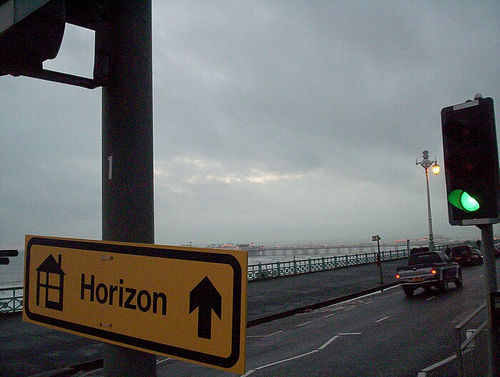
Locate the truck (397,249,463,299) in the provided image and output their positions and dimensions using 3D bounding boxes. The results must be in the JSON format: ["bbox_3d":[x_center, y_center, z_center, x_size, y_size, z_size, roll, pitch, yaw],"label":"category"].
[{"bbox_3d":[9.253,4.233,23.202,1.935,1.777,3.836,-5,-3,37],"label":"truck"}]

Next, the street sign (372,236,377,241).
[{"bbox_3d":[8.201,3.339,29.788,0.378,0.426,0.395,-1,-2,-8],"label":"street sign"}]

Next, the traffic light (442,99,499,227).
[{"bbox_3d":[2.409,-0.301,4.891,0.525,1.397,0.367,-5,-6,26],"label":"traffic light"}]

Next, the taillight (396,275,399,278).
[{"bbox_3d":[7.333,4.455,22.341,0.124,0.137,0.131,0,3,-22],"label":"taillight"}]

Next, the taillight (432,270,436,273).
[{"bbox_3d":[8.960,4.105,21.917,0.187,0.151,0.040,-2,-5,-7],"label":"taillight"}]
